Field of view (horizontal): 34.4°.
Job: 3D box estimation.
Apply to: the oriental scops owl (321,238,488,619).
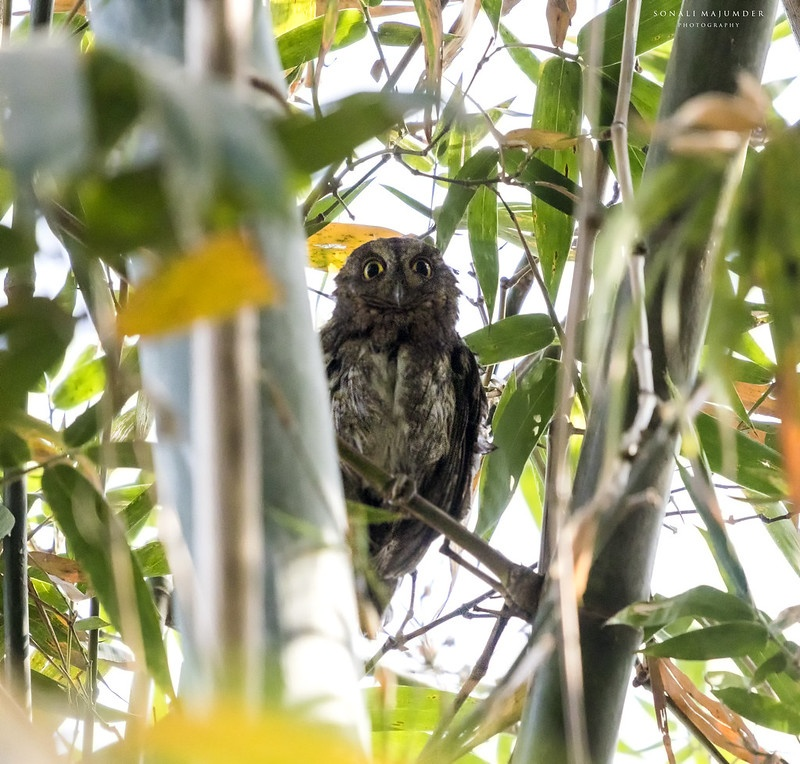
[{"bbox_3d":[0.002,-0.029,2.047,0.258,0.543,0.251,6,-27,-5],"label":"oriental scops owl"}]
